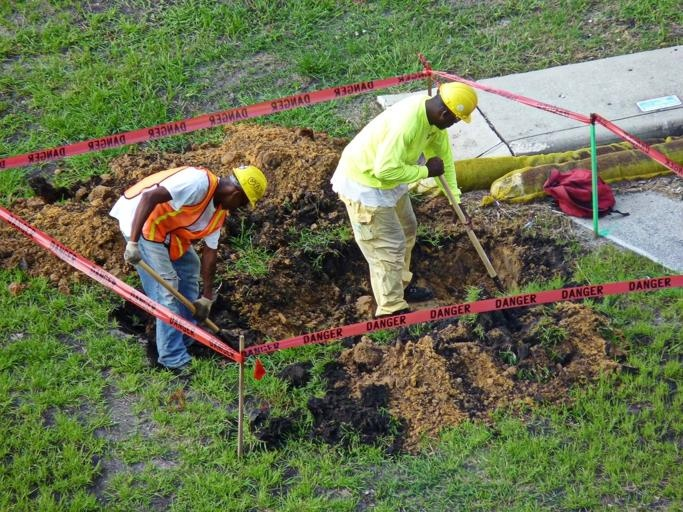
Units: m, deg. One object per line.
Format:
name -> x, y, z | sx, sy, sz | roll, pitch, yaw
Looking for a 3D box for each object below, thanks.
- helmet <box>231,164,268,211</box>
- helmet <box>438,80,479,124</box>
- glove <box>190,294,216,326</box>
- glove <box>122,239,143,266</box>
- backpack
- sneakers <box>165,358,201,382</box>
helmet -> -0.887, -0.713, 7.840 | 0.218, 0.397, 0.329 | -31, 18, 12
helmet -> 1.174, -1.529, 7.853 | 0.229, 0.410, 0.342 | -39, 24, 35
glove -> -1.397, 0.540, 7.954 | 0.216, 0.288, 0.103 | 22, 7, 11
glove -> -1.966, -0.042, 7.553 | 0.167, 0.220, 0.212 | 7, 11, 9
backpack -> 2.833, -0.748, 9.514 | 0.777, 0.489, 0.638 | -6, 44, 21
sneakers -> -1.602, 1.164, 8.074 | 0.386, 0.173, 0.154 | 16, 9, 3
